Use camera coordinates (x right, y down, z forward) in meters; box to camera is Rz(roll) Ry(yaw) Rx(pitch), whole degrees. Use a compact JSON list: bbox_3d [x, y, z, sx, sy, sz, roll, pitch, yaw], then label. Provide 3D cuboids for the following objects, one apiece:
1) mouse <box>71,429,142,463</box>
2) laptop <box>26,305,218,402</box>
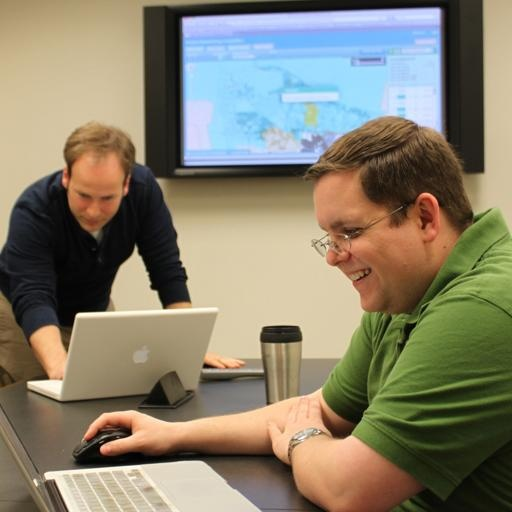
[{"bbox_3d":[-0.258,0.316,0.909,0.093,0.031,0.055,4,-4,-15],"label":"mouse"},{"bbox_3d":[-0.291,0.229,1.303,0.329,0.183,0.281,1,2,-33],"label":"laptop"}]
